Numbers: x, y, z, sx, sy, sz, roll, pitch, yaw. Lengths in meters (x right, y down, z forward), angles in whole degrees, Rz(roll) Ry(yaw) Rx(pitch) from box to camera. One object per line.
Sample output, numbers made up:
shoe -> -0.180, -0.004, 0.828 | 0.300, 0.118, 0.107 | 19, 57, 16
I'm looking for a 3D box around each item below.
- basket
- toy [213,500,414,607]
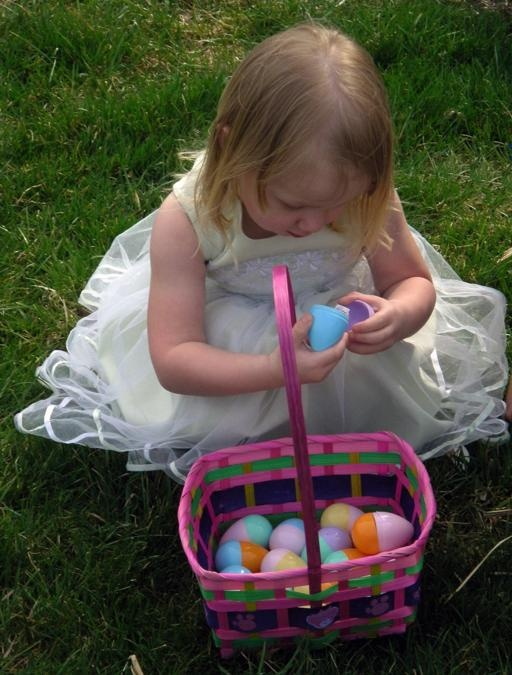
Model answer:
basket -> 0.084, 0.248, 1.276 | 0.484, 0.767, 0.389 | -5, 37, 7
toy -> 0.129, 0.459, 1.453 | 0.365, 0.093, 0.199 | -6, -4, 7
